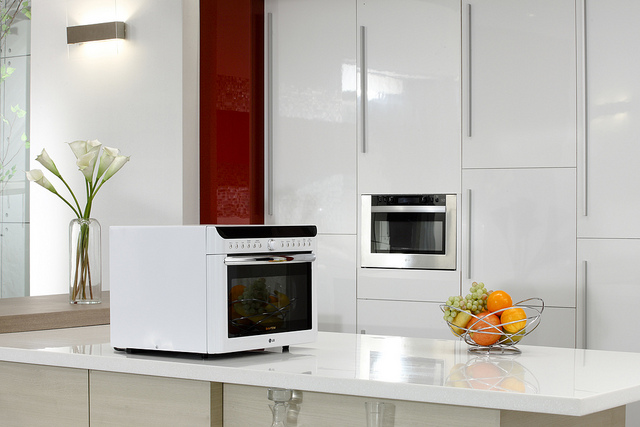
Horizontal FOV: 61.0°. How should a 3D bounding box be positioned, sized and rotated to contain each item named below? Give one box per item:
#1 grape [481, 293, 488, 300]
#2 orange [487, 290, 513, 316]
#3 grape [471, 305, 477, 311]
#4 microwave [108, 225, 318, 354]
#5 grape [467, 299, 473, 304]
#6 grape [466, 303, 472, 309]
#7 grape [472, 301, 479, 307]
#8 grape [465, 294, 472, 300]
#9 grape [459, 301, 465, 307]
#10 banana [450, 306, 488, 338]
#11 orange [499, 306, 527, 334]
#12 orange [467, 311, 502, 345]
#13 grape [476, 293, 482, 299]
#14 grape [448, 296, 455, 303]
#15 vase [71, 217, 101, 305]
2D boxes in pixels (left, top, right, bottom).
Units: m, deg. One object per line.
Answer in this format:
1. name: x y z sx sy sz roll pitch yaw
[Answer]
1. grape: 0.631 0.323 2.097 0.025 0.017 0.030 -3 -1 20
2. orange: 0.681 0.344 2.091 0.085 0.097 0.083 7 -1 -10
3. grape: 0.588 0.362 2.077 0.018 0.020 0.017 -3 -1 -20
4. microwave: -0.439 0.317 2.268 0.812 0.465 0.811 -1 -6 4
5. grape: 0.573 0.341 2.084 0.016 0.012 0.016 1 -4 -3
6. grape: 0.570 0.355 2.080 0.017 0.020 0.018 1 7 38
7. grape: 0.595 0.345 2.080 0.017 0.016 0.016 1 -7 -3
8. grape: 0.577 0.327 2.115 0.019 0.018 0.019 0 -5 -7
9. grape: 0.546 0.349 2.086 0.018 0.011 0.017 -1 -5 -12
10. banana: 0.564 0.443 2.179 0.105 0.102 0.223 21 -2 5
11. orange: 0.704 0.405 2.062 0.099 0.112 0.097 2 -15 -20
12. orange: 0.623 0.435 2.053 0.092 0.078 0.074 -19 -29 -24
13. grape: 0.611 0.319 2.093 0.022 0.015 0.021 0 -4 1
14. grape: 0.510 0.339 2.132 0.017 0.017 0.008 9 -10 39
15. vase: -1.229 0.248 2.829 0.149 0.433 0.103 -3 5 -19
